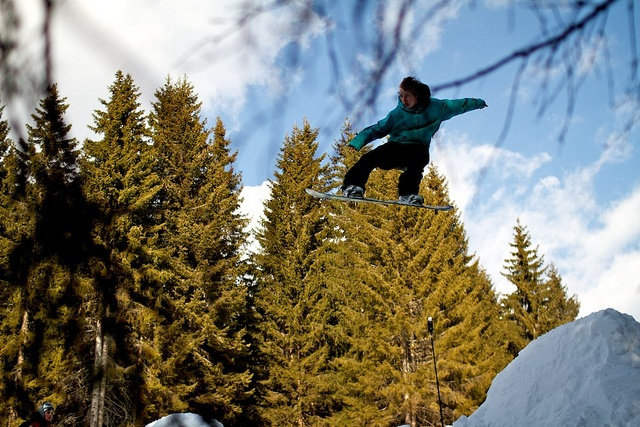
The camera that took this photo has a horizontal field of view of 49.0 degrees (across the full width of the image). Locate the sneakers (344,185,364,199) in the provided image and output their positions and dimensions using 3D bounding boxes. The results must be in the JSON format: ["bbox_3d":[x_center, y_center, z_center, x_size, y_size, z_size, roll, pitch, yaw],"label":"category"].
[{"bbox_3d":[0.885,-0.605,18.725,0.636,0.306,0.249,7,11,4],"label":"sneakers"}]
